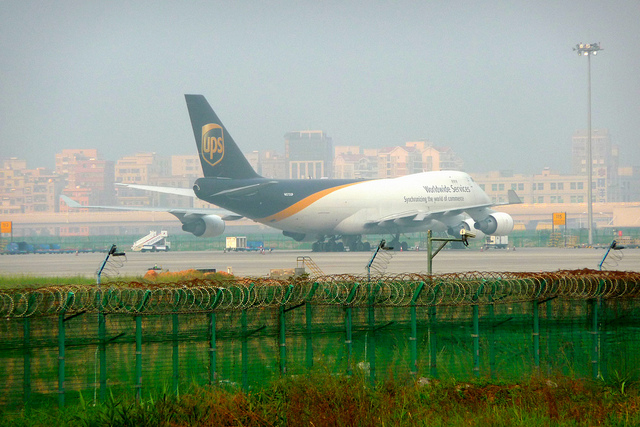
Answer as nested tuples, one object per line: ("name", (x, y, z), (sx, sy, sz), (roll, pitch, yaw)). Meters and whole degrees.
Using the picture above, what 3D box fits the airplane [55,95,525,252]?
("airplane", (0.277, -2.627, 84.614), (24.679, 7.820, 8.815), (-2, 1, -22))

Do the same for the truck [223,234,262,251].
("truck", (-7.323, 2.616, 100.961), (1.470, 1.378, 2.884), (-1, -2, 44))
